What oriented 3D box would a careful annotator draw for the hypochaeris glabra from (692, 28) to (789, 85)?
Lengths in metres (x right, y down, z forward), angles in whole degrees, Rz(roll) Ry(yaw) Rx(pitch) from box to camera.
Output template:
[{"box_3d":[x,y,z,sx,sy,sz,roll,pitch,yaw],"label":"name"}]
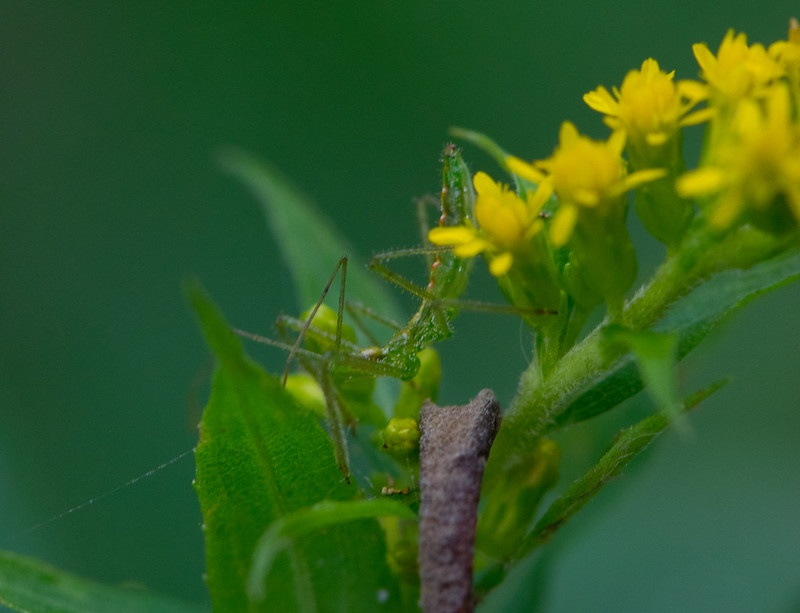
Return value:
[{"box_3d":[0.270,-0.196,0.730,0.044,0.062,0.039,0,17,8],"label":"hypochaeris glabra"}]
